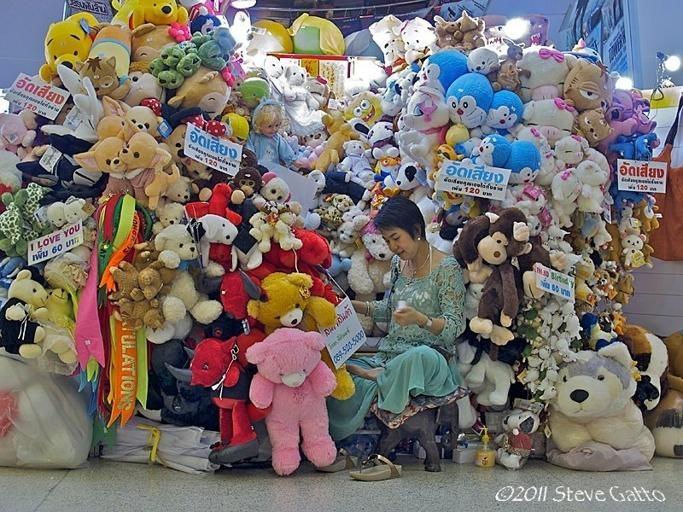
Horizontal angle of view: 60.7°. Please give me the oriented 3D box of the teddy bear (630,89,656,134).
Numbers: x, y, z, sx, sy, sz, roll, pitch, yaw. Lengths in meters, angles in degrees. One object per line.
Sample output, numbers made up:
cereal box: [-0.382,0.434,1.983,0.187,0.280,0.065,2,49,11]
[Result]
teddy bear: [1.778,-0.871,3.438,0.103,0.276,0.211,-17,-9,29]

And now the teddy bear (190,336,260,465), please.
teddy bear: [-0.572,0.683,2.815,0.348,0.625,0.175,1,0,-4]

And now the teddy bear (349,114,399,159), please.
teddy bear: [0.223,-0.769,3.820,0.302,0.170,0.128,49,-5,32]

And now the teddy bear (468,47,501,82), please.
teddy bear: [0.808,-1.062,3.303,0.148,0.143,0.183,-4,-14,43]

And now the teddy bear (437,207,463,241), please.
teddy bear: [0.630,-0.187,3.325,0.119,0.190,0.123,38,-26,-14]

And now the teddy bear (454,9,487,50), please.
teddy bear: [0.814,-1.321,3.492,0.268,0.201,0.140,1,0,-40]

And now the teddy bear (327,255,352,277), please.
teddy bear: [-0.012,0.060,3.466,0.099,0.062,0.149,-15,19,-34]

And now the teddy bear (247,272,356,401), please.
teddy bear: [-0.218,0.410,2.843,0.481,0.365,0.339,49,3,-33]

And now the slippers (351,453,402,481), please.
slippers: [0.169,1.015,2.816,0.223,0.091,0.106,4,-9,-24]

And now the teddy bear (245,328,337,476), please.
teddy bear: [-0.247,0.706,2.839,0.440,0.672,0.250,1,0,-7]

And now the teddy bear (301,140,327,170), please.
teddy bear: [-0.172,-0.665,3.851,0.153,0.180,0.179,1,0,0]

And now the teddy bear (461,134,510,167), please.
teddy bear: [0.799,-0.566,3.168,0.252,0.151,0.107,1,0,21]

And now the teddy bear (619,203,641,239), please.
teddy bear: [1.674,-0.187,3.357,0.140,0.178,0.084,1,1,-16]

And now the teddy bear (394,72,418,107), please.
teddy bear: [0.403,-1.029,3.600,0.087,0.196,0.144,12,45,9]

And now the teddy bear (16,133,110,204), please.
teddy bear: [-1.455,-0.457,3.138,0.431,0.353,0.187,9,-2,-3]

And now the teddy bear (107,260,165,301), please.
teddy bear: [-0.986,0.125,2.798,0.247,0.201,0.111,1,0,-17]

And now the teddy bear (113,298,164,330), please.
teddy bear: [-0.974,0.287,2.808,0.197,0.145,0.082,19,8,-6]

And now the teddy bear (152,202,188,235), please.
teddy bear: [-0.875,-0.206,2.998,0.219,0.175,0.137,-2,9,-13]

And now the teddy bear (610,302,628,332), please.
teddy bear: [1.628,0.362,3.399,0.075,0.158,0.104,-18,-16,27]

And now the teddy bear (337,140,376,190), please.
teddy bear: [0.102,-0.594,3.768,0.228,0.298,0.223,1,0,-1]

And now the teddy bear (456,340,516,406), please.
teddy bear: [0.781,0.636,3.174,0.267,0.309,0.102,11,-6,6]

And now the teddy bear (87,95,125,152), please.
teddy bear: [-1.210,-0.696,3.087,0.183,0.243,0.188,-36,-17,35]

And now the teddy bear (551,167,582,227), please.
teddy bear: [1.220,-0.332,3.152,0.129,0.185,0.261,11,-30,27]

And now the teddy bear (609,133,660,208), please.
teddy bear: [1.678,-0.502,3.344,0.147,0.403,0.300,8,-5,-32]

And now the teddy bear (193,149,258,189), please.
teddy bear: [-0.632,-0.451,3.166,0.265,0.160,0.259,-6,3,-14]

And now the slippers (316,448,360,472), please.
slippers: [-0.007,1.013,2.918,0.100,0.077,0.191,-9,-12,44]

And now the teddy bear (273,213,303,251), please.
teddy bear: [-0.271,-0.113,2.912,0.071,0.171,0.176,-5,-14,36]

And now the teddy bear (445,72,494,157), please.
teddy bear: [0.727,-0.826,3.334,0.260,0.445,0.303,14,26,28]

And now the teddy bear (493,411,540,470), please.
teddy bear: [0.921,0.947,3.011,0.228,0.244,0.189,1,0,2]

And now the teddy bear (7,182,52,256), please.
teddy bear: [-1.637,-0.199,3.029,0.271,0.317,0.104,0,-4,-10]

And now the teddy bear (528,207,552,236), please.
teddy bear: [1.074,-0.192,3.152,0.078,0.161,0.123,4,-40,51]

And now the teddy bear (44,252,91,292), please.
teddy bear: [-1.392,0.082,2.919,0.233,0.210,0.069,1,0,6]

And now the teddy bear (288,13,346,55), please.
teddy bear: [-0.222,-1.796,4.843,0.340,0.240,0.421,2,20,-44]

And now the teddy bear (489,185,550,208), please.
teddy bear: [0.978,-0.319,3.131,0.201,0.089,0.148,2,0,17]

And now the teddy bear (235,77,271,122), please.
teddy bear: [-0.546,-0.991,3.616,0.232,0.234,0.188,-16,20,-13]

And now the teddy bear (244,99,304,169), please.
teddy bear: [-0.434,-0.738,3.587,0.265,0.444,0.403,32,44,30]

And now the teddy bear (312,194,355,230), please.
teddy bear: [-0.039,-0.288,3.630,0.190,0.249,0.121,40,-11,14]

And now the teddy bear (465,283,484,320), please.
teddy bear: [0.711,0.252,3.128,0.071,0.168,0.129,0,14,-25]

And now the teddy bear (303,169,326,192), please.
teddy bear: [-0.159,-0.476,3.646,0.095,0.127,0.141,1,0,36]

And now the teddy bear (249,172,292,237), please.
teddy bear: [-0.375,-0.251,2.984,0.126,0.303,0.242,-28,-40,33]

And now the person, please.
person: [0.312,0.337,3.105,0.687,1.155,0.469,1,0,12]

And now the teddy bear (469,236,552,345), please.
teddy bear: [0.902,0.178,3.058,0.448,0.511,0.239,16,-7,6]

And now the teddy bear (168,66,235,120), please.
teddy bear: [-0.755,-0.884,3.200,0.285,0.237,0.240,-21,-25,-3]

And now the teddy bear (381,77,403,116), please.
teddy bear: [0.336,-1.031,3.772,0.099,0.227,0.170,-3,16,-21]

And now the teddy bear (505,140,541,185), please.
teddy bear: [1.003,-0.532,3.205,0.201,0.233,0.205,24,21,14]

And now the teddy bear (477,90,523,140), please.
teddy bear: [0.899,-0.794,3.221,0.227,0.206,0.129,1,0,14]

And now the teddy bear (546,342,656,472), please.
teddy bear: [1.385,0.796,3.224,0.641,0.650,0.607,-4,-11,29]
